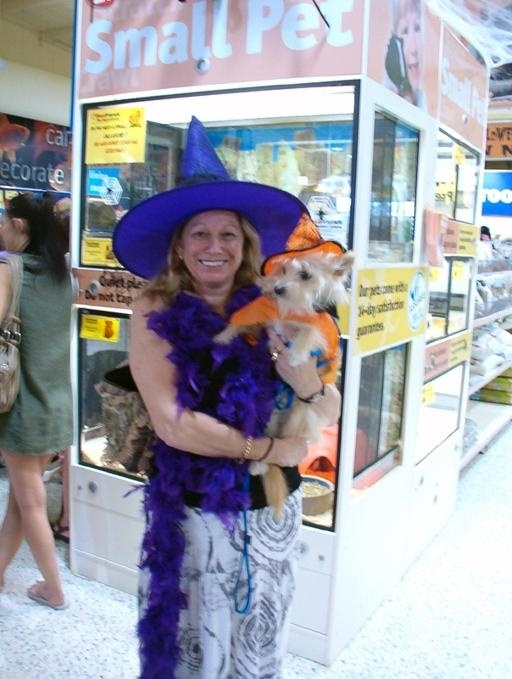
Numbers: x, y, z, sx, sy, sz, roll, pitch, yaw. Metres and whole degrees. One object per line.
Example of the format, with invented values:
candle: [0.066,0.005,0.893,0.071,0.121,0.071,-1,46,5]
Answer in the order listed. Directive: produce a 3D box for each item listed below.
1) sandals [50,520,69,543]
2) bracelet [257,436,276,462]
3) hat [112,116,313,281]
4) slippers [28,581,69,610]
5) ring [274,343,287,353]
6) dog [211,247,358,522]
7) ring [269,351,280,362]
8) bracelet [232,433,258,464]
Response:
sandals: [-0.921,0.902,2.699,0.073,0.109,0.037,-10,-1,11]
bracelet: [0.025,0.223,1.178,0.010,0.041,0.032,32,-21,-22]
hat: [-0.108,-0.204,1.383,0.419,0.285,0.436,-11,-22,6]
slippers: [-0.801,0.981,2.251,0.161,0.065,0.074,25,8,28]
ring: [0.049,0.018,1.180,0.019,0.017,0.005,5,11,30]
dog: [0.040,0.094,1.215,0.263,0.563,0.274,5,8,6]
ring: [0.037,0.034,1.191,0.020,0.017,0.005,-9,-11,38]
bracelet: [-0.022,0.216,1.163,0.045,0.055,0.021,12,1,6]
